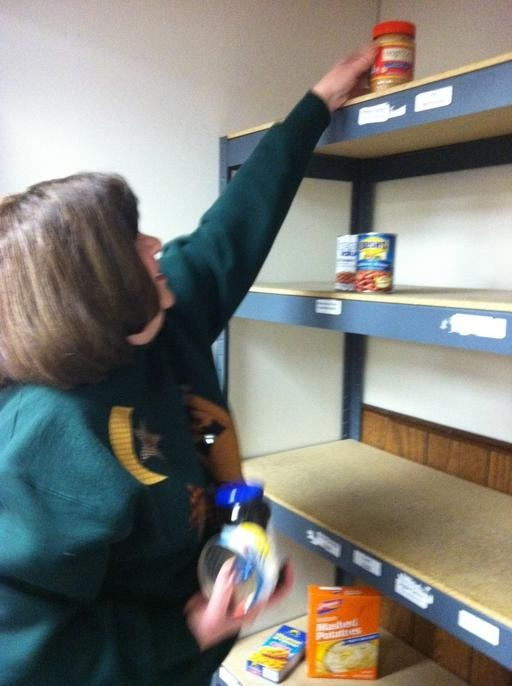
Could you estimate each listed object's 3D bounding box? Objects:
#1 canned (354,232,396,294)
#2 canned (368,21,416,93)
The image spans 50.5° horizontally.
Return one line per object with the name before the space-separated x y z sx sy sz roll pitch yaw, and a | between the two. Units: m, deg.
canned | 0.223 -0.148 1.010 0.080 0.108 0.070 0 8 -15
canned | 0.238 -0.482 0.941 0.090 0.116 0.085 -1 10 -8
